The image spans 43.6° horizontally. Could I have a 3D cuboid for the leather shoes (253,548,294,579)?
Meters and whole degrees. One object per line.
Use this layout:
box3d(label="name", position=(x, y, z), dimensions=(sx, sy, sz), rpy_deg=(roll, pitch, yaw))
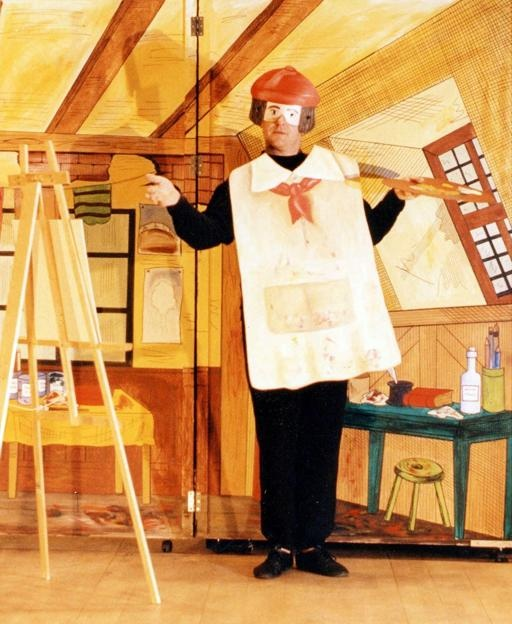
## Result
box3d(label="leather shoes", position=(0.053, 0.737, 1.882), dimensions=(0.053, 0.047, 0.131), rpy_deg=(12, -1, 27))

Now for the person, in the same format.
box3d(label="person", position=(0.083, 0.038, 1.852), dimensions=(0.679, 0.997, 0.278), rpy_deg=(-2, -1, -14))

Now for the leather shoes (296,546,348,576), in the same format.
box3d(label="leather shoes", position=(0.187, 0.735, 1.903), dimensions=(0.184, 0.061, 0.059), rpy_deg=(-2, -6, 28))
